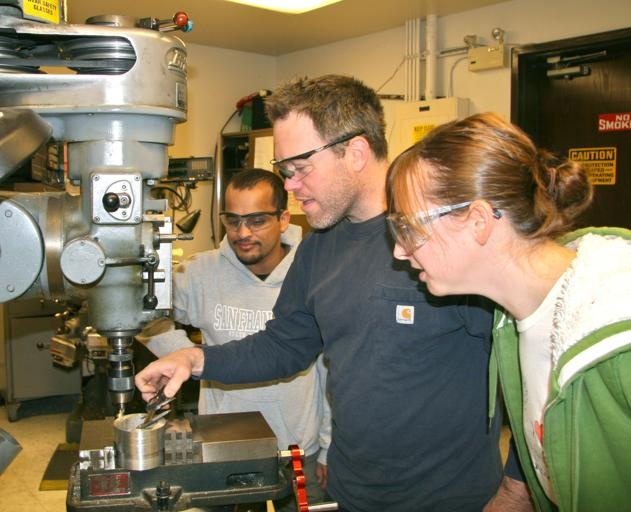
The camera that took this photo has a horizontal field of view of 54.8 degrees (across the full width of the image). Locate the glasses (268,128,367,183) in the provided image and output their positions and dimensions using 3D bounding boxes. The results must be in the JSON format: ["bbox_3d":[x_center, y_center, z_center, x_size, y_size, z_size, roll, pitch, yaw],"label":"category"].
[{"bbox_3d":[0.018,-0.277,1.876,0.197,0.050,0.185,-29,10,-13],"label":"glasses"}]

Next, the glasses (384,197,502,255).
[{"bbox_3d":[0.293,-0.057,1.457,0.164,0.059,0.152,-23,1,-5],"label":"glasses"}]
